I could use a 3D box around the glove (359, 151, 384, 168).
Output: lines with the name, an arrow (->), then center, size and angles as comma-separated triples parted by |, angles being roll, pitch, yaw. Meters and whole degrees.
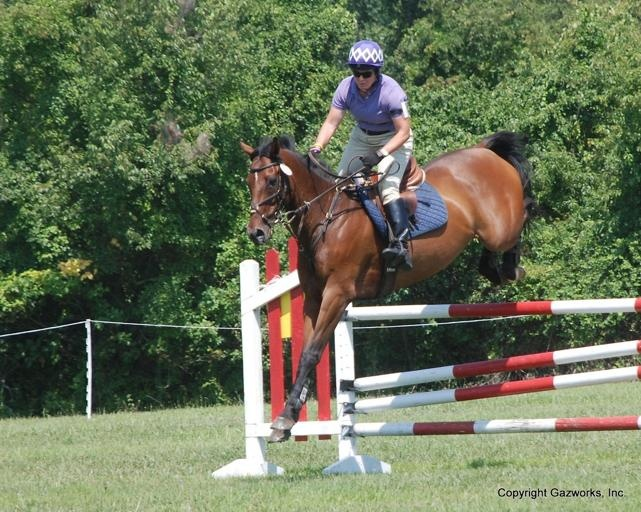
glove -> 0.959, -1.704, 24.087 | 0.450, 0.288, 0.158 | 1, 7, 18
